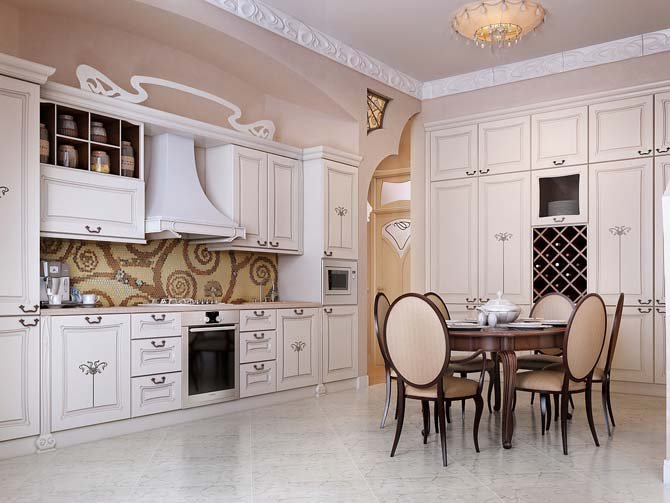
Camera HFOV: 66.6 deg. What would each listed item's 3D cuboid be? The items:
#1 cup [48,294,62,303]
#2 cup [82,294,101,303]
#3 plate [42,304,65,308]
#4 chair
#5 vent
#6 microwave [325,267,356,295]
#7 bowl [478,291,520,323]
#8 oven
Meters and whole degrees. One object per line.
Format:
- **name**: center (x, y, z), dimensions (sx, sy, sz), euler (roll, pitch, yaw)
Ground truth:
- **cup**: center (-2.207, 0.367, 4.022), dimensions (0.074, 0.054, 0.064), euler (2, -5, -14)
- **cup**: center (-2.037, 0.394, 4.286), dimensions (0.091, 0.089, 0.120), euler (-8, -12, 37)
- **plate**: center (-2.178, 0.422, 3.977), dimensions (0.187, 0.025, 0.168), euler (1, -2, -35)
- **chair**: center (1.482, 0.839, 4.183), dimensions (1.369, 0.955, 1.420), euler (-3, -4, 35)
- **vent**: center (-1.342, -0.558, 4.899), dimensions (0.897, 0.829, 0.520), euler (3, -2, -40)
- **microwave**: center (0.023, 0.317, 5.899), dimensions (0.283, 0.333, 0.502), euler (-4, -7, 37)
- **bowl**: center (1.332, 0.457, 4.175), dimensions (0.372, 0.261, 0.342), euler (0, -2, 0)
- **oven**: center (-1.312, 1.012, 4.880), dimensions (0.646, 0.857, 0.606), euler (3, -8, -38)
